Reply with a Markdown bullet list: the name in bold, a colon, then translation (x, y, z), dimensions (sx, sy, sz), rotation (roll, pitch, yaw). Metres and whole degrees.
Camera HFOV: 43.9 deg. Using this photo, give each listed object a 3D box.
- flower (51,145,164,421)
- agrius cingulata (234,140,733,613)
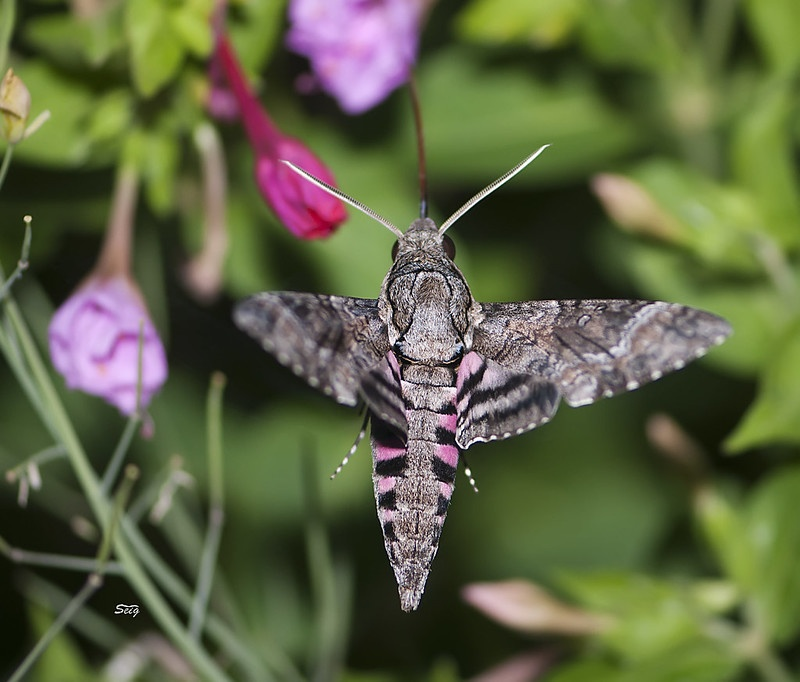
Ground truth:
- **flower**: translation (-0.313, -0.049, 1.031), dimensions (0.113, 0.256, 0.090), rotation (-14, 23, -29)
- **agrius cingulata**: translation (0.037, 0.029, 0.991), dimensions (0.518, 0.226, 0.487), rotation (12, 37, -5)
